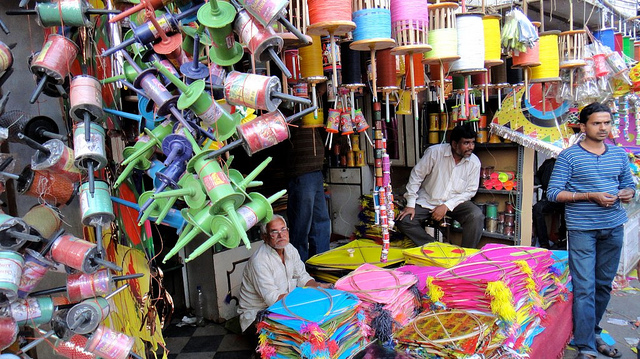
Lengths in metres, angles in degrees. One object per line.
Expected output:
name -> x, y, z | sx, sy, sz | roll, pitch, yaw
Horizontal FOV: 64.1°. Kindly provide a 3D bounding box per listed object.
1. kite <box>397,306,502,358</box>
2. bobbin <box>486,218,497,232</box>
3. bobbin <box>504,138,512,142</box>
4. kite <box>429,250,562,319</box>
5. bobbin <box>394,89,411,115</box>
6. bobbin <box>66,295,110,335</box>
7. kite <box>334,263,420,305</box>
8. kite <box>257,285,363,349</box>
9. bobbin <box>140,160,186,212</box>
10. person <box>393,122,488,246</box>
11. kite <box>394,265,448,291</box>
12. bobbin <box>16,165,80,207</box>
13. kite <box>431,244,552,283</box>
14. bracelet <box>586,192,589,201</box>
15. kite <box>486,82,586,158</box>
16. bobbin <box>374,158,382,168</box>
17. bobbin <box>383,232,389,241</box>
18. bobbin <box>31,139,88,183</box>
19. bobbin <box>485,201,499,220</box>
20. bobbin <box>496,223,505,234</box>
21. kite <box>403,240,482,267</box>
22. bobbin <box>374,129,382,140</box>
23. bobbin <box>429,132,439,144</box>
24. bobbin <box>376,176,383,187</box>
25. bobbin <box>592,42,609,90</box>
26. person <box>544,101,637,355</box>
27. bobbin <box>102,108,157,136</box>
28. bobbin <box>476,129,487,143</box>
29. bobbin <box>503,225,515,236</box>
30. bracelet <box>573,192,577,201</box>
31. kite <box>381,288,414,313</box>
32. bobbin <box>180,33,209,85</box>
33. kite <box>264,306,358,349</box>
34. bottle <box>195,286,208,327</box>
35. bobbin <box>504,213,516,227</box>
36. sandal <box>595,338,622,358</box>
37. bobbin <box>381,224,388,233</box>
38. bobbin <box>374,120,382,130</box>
kite -> 0.962, 1.131, 3.836 | 0.426, 0.070, 0.404 | -22, 15, -38
bobbin -> 2.070, 0.547, 6.229 | 0.134, 0.146, 0.132 | 0, 1, -4
bobbin -> 2.245, -0.470, 6.101 | 0.062, 0.072, 0.061 | 1, 0, 5
kite -> 1.507, 0.870, 4.185 | 0.532, 0.209, 0.710 | -2, 12, 46
bobbin -> 0.830, -0.755, 4.983 | 0.219, 0.239, 0.215 | 0, 2, -3
bobbin -> -1.453, 0.840, 3.179 | 0.101, 0.100, 0.236 | -13, 7, 0
kite -> 0.427, 0.821, 4.058 | 0.341, 0.061, 0.359 | 6, 18, 40
kite -> -0.072, 0.968, 3.797 | 0.457, 0.140, 0.469 | 6, 27, 37
bobbin -> -0.928, 0.001, 3.159 | 0.161, 0.377, 0.125 | 36, -28, 2
person -> 1.539, 0.207, 6.214 | 1.064, 1.625, 0.961 | 12, 17, 28
kite -> 0.903, 0.852, 4.316 | 0.392, 0.111, 0.334 | -24, -24, 36
bobbin -> -1.722, 0.034, 3.304 | 0.233, 0.356, 0.222 | -10, 26, -34
kite -> 1.438, 0.725, 4.318 | 0.596, 0.140, 1.079 | 0, 8, 44
bracelet -> 2.430, 0.151, 4.642 | 0.021, 0.068, 0.019 | 2, 5, 33
kite -> 2.490, -0.618, 5.988 | 0.932, 0.921, 0.514 | 31, -4, 12
bobbin -> 0.544, -0.159, 4.803 | 0.076, 0.084, 0.076 | -2, -11, 7
bobbin -> 0.621, 0.534, 4.836 | 0.041, 0.095, 0.067 | 0, 4, 0
bobbin -> -1.606, -0.096, 3.228 | 0.267, 0.246, 0.327 | -16, -24, 37
bobbin -> 2.022, 0.377, 6.151 | 0.188, 0.199, 0.183 | 0, -3, 4
bobbin -> 2.167, 0.586, 6.129 | 0.098, 0.107, 0.098 | 2, 1, 9
kite -> 1.083, 0.664, 4.573 | 0.344, 0.100, 0.330 | -5, 6, -35
bobbin -> 0.536, -0.419, 4.731 | 0.082, 0.091, 0.081 | -3, -15, 5
bobbin -> 1.489, -0.545, 6.667 | 0.132, 0.144, 0.130 | -1, -3, -1
bobbin -> 0.550, 0.014, 4.744 | 0.081, 0.084, 0.080 | 0, -5, 2
bobbin -> 2.913, -1.190, 5.286 | 0.084, 0.370, 0.089 | -4, -4, 12
person -> 2.542, 0.461, 4.767 | 0.723, 2.326, 0.417 | -2, 5, -16
bobbin -> -1.219, -0.376, 3.264 | 0.275, 0.096, 0.179 | 16, 5, -16
bobbin -> 2.000, -0.540, 6.328 | 0.126, 0.163, 0.126 | 1, 4, 17
bobbin -> 2.237, 0.601, 6.043 | 0.107, 0.119, 0.107 | -5, -27, 5
bracelet -> 2.333, 0.159, 4.687 | 0.019, 0.075, 0.077 | 2, -3, -7
kite -> 0.612, 0.952, 4.000 | 0.039, 0.127, 0.370 | 4, 6, 44
bobbin -> -0.765, -0.726, 3.137 | 0.187, 0.301, 0.180 | 0, 40, -19
kite -> -0.084, 1.049, 3.677 | 0.669, 0.212, 0.270 | 0, 4, 2
bottle -> -1.374, 1.436, 5.771 | 0.093, 0.452, 0.096 | -6, -8, -1
bobbin -> 2.237, 0.472, 6.033 | 0.121, 0.132, 0.129 | -1, 0, 18
sandal -> 2.734, 1.589, 4.835 | 0.226, 0.117, 0.220 | 0, 4, 8
bobbin -> 0.598, 0.455, 4.800 | 0.074, 0.080, 0.072 | 1, -2, -22
bobbin -> 0.526, -0.501, 4.701 | 0.075, 0.082, 0.073 | 0, -4, 0
